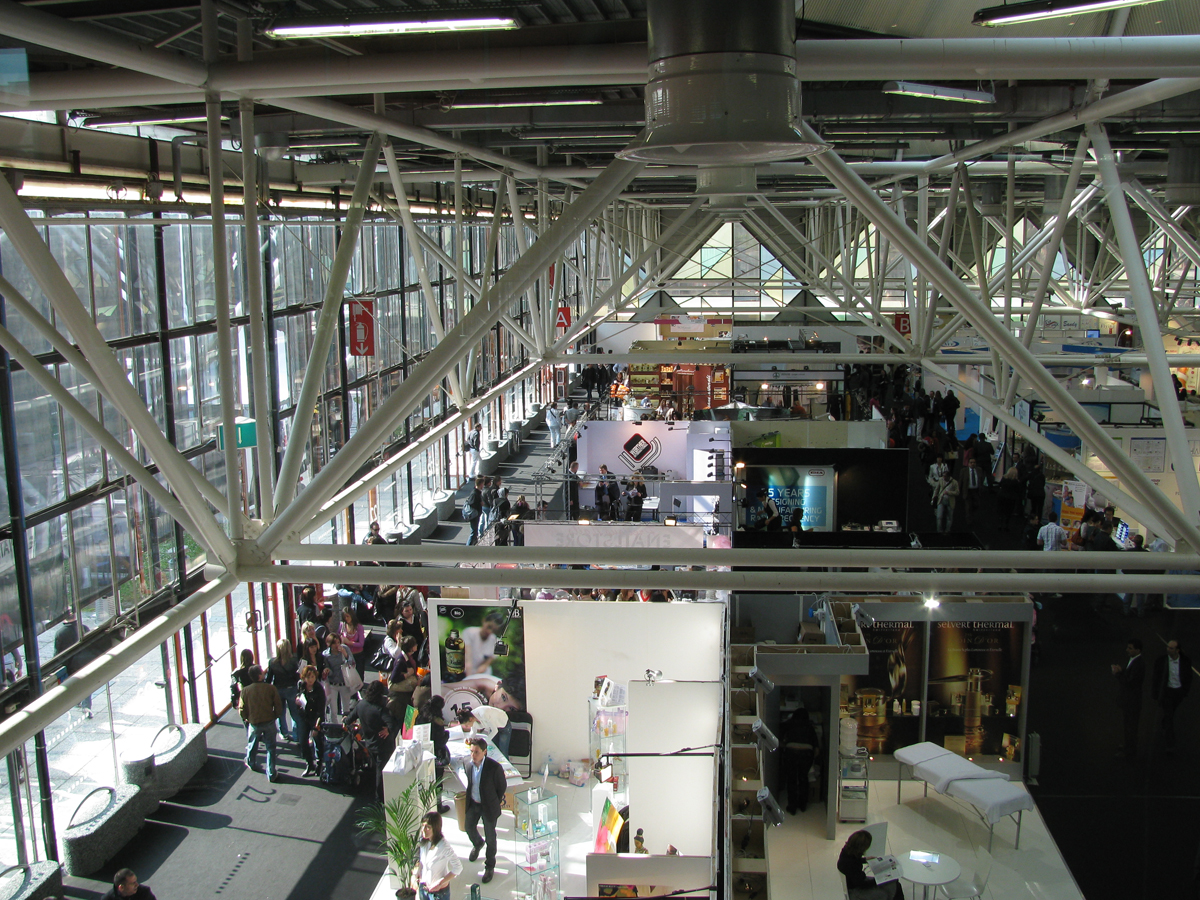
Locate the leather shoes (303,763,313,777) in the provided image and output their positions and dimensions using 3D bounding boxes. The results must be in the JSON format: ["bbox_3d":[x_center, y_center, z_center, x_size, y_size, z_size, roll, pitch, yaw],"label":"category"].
[{"bbox_3d":[-3.747,4.053,14.030,0.108,0.132,0.180,8,-7,-40],"label":"leather shoes"}]

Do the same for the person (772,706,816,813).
[{"bbox_3d":[2.345,3.634,13.020,0.341,1.250,0.337,3,13,6],"label":"person"}]

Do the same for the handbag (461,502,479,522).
[{"bbox_3d":[-2.586,1.213,21.852,0.362,0.553,0.494,-1,-7,-2],"label":"handbag"}]

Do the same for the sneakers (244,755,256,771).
[{"bbox_3d":[-4.520,3.995,14.182,0.138,0.193,0.067,-1,9,10],"label":"sneakers"}]

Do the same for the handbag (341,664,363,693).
[{"bbox_3d":[-3.193,2.908,14.041,0.097,0.307,0.319,-16,-23,26],"label":"handbag"}]

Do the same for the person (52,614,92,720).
[{"bbox_3d":[-6.516,2.654,13.580,0.470,1.113,0.979,6,-5,-26],"label":"person"}]

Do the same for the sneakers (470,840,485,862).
[{"bbox_3d":[-1.360,4.398,12.123,0.077,0.200,0.099,32,-23,-35],"label":"sneakers"}]

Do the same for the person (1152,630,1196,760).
[{"bbox_3d":[7.404,3.132,14.160,0.391,1.425,2.034,1,-6,29],"label":"person"}]
